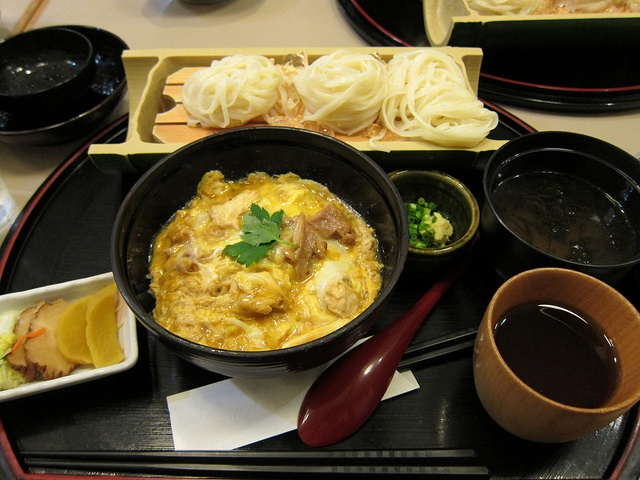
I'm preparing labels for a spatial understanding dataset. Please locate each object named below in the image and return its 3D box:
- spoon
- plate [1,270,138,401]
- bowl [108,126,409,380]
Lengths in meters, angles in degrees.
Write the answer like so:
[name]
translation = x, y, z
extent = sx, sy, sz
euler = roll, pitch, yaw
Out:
[spoon]
translation = 0.234, 0.554, 2.206
extent = 0.261, 0.108, 0.889
euler = 39, 70, 20
[plate]
translation = -1.159, 0.414, 2.495
extent = 0.711, 0.121, 0.506
euler = -17, 65, -7
[bowl]
translation = -0.162, -0.117, 2.257
extent = 1.189, 0.462, 1.203
euler = -1, 53, 1
